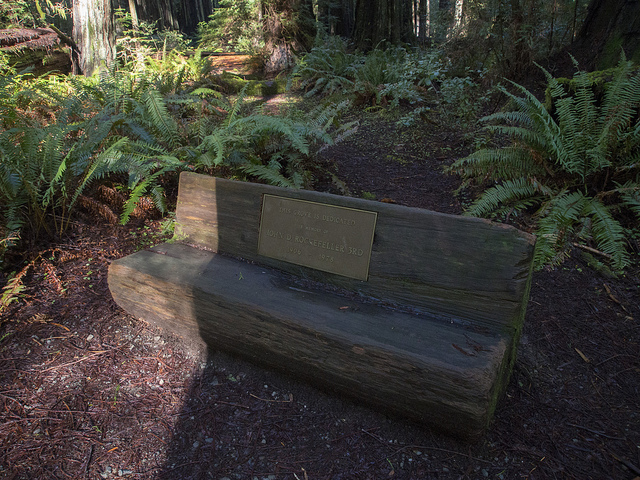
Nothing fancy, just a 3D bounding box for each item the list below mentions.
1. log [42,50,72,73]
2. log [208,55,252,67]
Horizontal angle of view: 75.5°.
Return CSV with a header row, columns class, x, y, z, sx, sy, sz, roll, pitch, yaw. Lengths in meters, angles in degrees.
class,x,y,z,sx,sy,sz,roll,pitch,yaw
log,-5.982,-4.082,9.378,0.309,0.428,0.828,8,26,11
log,-2.645,-5.366,12.210,1.037,0.293,1.532,-4,26,-14
